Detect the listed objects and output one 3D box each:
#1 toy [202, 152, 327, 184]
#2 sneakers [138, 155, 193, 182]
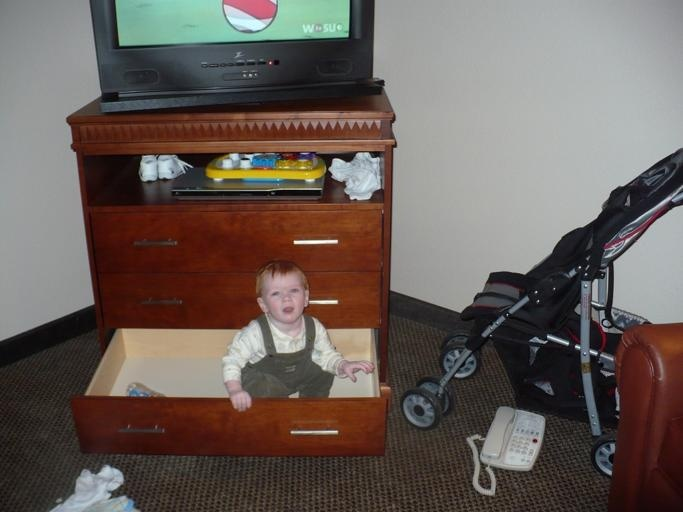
[{"bbox_3d":[-0.324,-0.384,2.502,0.361,0.057,0.201,0,21,0],"label":"toy"},{"bbox_3d":[-0.839,-0.411,2.744,0.138,0.087,0.230,3,17,10],"label":"sneakers"}]
